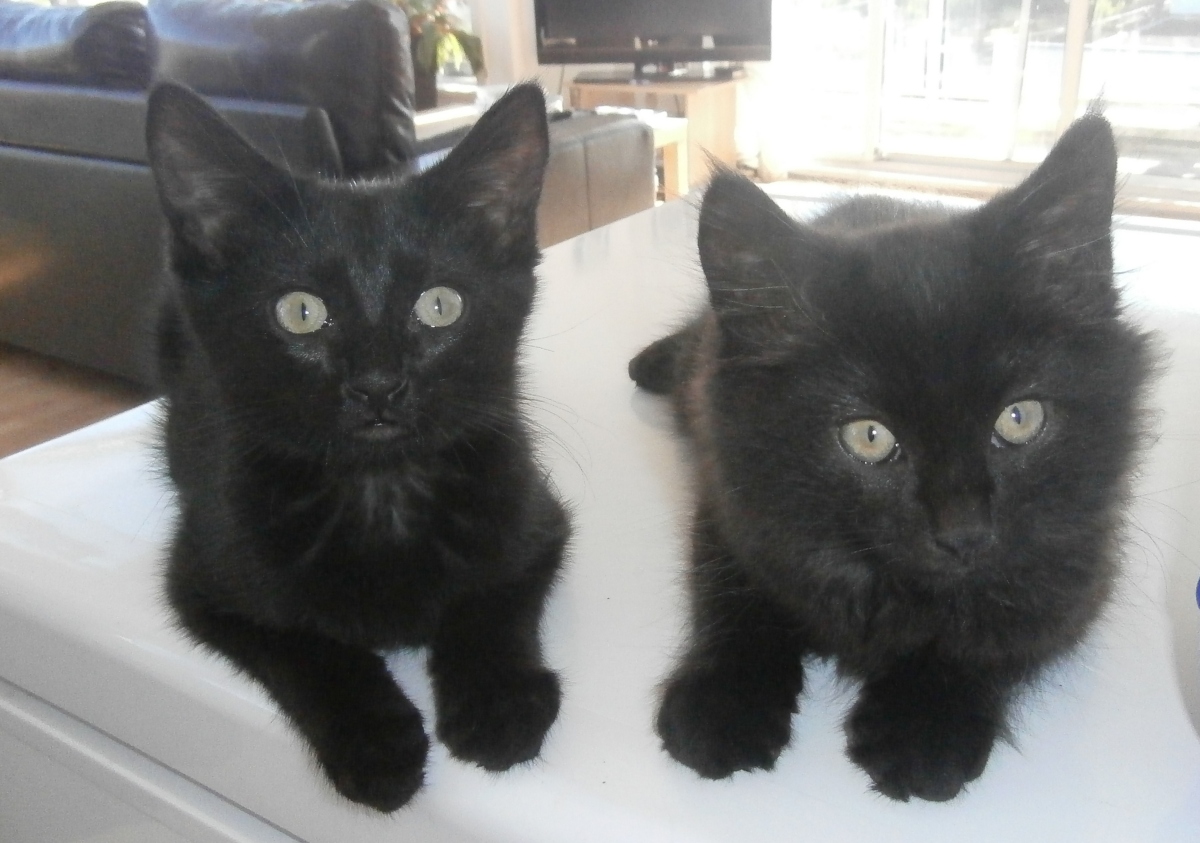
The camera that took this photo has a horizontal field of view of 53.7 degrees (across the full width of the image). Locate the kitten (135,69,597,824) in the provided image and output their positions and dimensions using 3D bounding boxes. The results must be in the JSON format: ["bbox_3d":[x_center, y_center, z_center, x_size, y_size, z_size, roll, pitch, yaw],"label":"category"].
[{"bbox_3d":[-0.186,0.021,0.938,0.314,0.544,0.231,-4,29,-4],"label":"kitten"}]

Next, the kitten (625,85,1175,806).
[{"bbox_3d":[0.249,0.000,1.060,0.337,0.333,0.580,-2,20,9],"label":"kitten"}]
